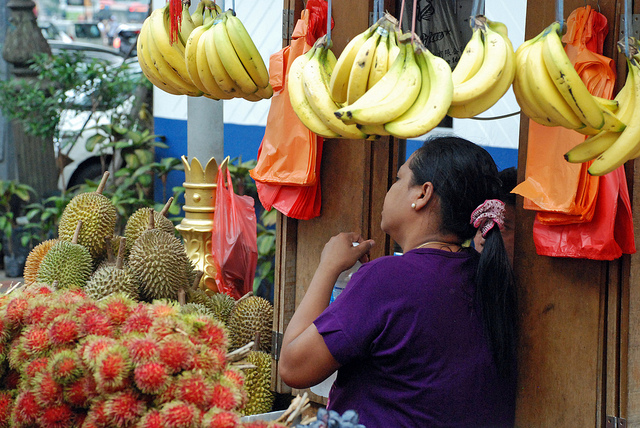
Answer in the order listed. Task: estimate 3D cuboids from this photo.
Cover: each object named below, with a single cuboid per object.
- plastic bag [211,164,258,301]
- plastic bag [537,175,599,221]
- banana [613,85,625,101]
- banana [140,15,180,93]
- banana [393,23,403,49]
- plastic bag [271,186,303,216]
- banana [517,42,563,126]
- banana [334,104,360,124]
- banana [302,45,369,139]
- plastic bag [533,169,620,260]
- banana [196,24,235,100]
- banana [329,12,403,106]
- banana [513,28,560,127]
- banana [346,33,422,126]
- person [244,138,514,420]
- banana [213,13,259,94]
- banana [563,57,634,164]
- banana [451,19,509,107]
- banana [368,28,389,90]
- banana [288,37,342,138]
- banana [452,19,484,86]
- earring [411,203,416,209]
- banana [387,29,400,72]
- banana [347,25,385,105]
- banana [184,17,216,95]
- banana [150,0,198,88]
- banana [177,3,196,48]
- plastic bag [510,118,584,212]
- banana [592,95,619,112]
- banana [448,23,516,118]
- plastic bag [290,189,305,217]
[{"bbox_3d":[-0.435,0.130,4.378,0.202,0.699,0.201,-6,21,-22],"label":"plastic bag"},{"bbox_3d":[0.956,-0.048,3.160,0.146,0.184,0.057,5,2,35],"label":"plastic bag"},{"bbox_3d":[1.051,-0.419,2.979,0.017,0.081,0.020,31,-26,-23],"label":"banana"},{"bbox_3d":[-0.614,-0.640,3.420,0.062,0.250,0.190,-14,33,4],"label":"banana"},{"bbox_3d":[0.272,-0.632,2.946,0.017,0.118,0.028,-5,3,6],"label":"banana"},{"bbox_3d":[-0.144,-0.067,3.657,0.083,0.152,0.029,36,16,34],"label":"plastic bag"},{"bbox_3d":[0.724,-0.441,2.921,0.059,0.252,0.182,-11,-8,-1],"label":"banana"},{"bbox_3d":[0.074,-0.329,2.817,0.036,0.024,0.063,-7,-24,37],"label":"banana"},{"bbox_3d":[0.081,-0.473,2.947,0.109,0.158,0.352,34,-19,-26],"label":"banana"},{"bbox_3d":[0.924,-0.001,3.117,0.099,0.328,0.273,13,-9,-37],"label":"plastic bag"},{"bbox_3d":[-0.377,-0.571,3.250,0.053,0.222,0.170,-7,37,7],"label":"banana"},{"bbox_3d":[0.140,-0.567,3.047,0.217,0.180,0.414,-20,8,-31],"label":"banana"},{"bbox_3d":[0.809,-0.497,3.034,0.164,0.097,0.484,16,-24,31],"label":"banana"},{"bbox_3d":[0.235,-0.412,2.865,0.319,0.223,0.097,-38,15,-18],"label":"banana"},{"bbox_3d":[0.319,0.232,3.125,0.803,1.045,0.416,5,5,17],"label":"person"},{"bbox_3d":[-0.316,-0.611,3.199,0.181,0.279,0.094,2,5,-15],"label":"banana"},{"bbox_3d":[0.977,-0.363,2.954,0.116,0.385,0.072,23,3,-7],"label":"banana"},{"bbox_3d":[0.504,-0.514,2.912,0.261,0.190,0.093,-42,7,-8],"label":"banana"},{"bbox_3d":[0.213,-0.541,2.961,0.039,0.216,0.068,8,-16,6],"label":"banana"},{"bbox_3d":[-0.058,-0.430,3.077,0.081,0.317,0.229,-23,-3,11],"label":"banana"},{"bbox_3d":[0.519,-0.540,2.939,0.062,0.315,0.100,14,-19,3],"label":"banana"},{"bbox_3d":[0.346,-0.032,3.141,0.017,0.017,0.004,5,5,13],"label":"earring"},{"bbox_3d":[0.252,-0.574,2.955,0.033,0.163,0.048,2,-14,-11],"label":"banana"},{"bbox_3d":[0.162,-0.507,2.933,0.062,0.272,0.087,13,-11,45],"label":"banana"},{"bbox_3d":[-0.441,-0.610,3.239,0.048,0.232,0.156,0,-7,8],"label":"banana"},{"bbox_3d":[-0.571,-0.664,3.316,0.107,0.326,0.069,-32,6,-40],"label":"banana"},{"bbox_3d":[-0.532,-0.753,3.359,0.043,0.211,0.066,-2,3,16],"label":"banana"},{"bbox_3d":[0.870,-0.168,3.209,0.088,0.359,0.257,5,4,-32],"label":"plastic bag"},{"bbox_3d":[0.992,-0.383,2.943,0.093,0.028,0.032,37,7,-2],"label":"banana"},{"bbox_3d":[0.553,-0.455,2.878,0.209,0.298,0.086,30,26,31],"label":"banana"},{"bbox_3d":[-0.101,-0.047,3.642,0.064,0.120,0.012,6,6,26],"label":"plastic bag"}]
